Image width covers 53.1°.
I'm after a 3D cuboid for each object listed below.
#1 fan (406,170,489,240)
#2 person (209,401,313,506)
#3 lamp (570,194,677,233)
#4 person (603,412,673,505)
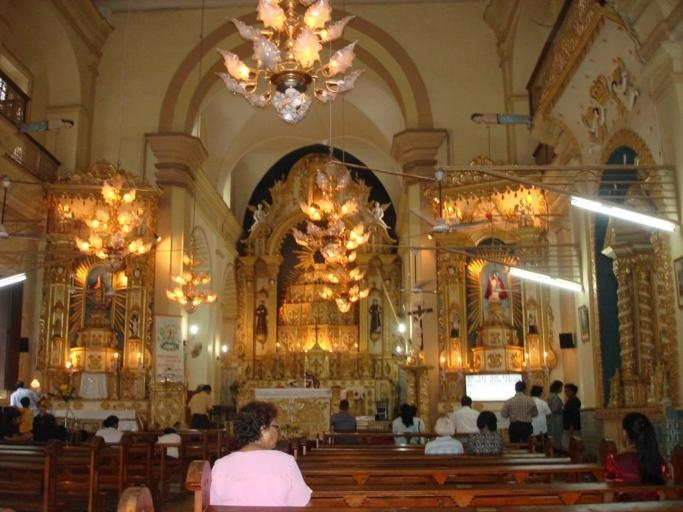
[{"bbox_3d":[1.826,-0.835,12.554,1.403,1.310,1.452,-5,9,-41],"label":"fan"},{"bbox_3d":[-0.630,1.526,5.306,0.760,0.796,0.554,1,-15,-8],"label":"person"},{"bbox_3d":[3.699,-0.559,8.935,1.386,0.437,0.221,0,-15,-4],"label":"lamp"},{"bbox_3d":[2.626,1.809,6.141,0.513,0.760,0.509,-7,-16,24],"label":"person"}]
